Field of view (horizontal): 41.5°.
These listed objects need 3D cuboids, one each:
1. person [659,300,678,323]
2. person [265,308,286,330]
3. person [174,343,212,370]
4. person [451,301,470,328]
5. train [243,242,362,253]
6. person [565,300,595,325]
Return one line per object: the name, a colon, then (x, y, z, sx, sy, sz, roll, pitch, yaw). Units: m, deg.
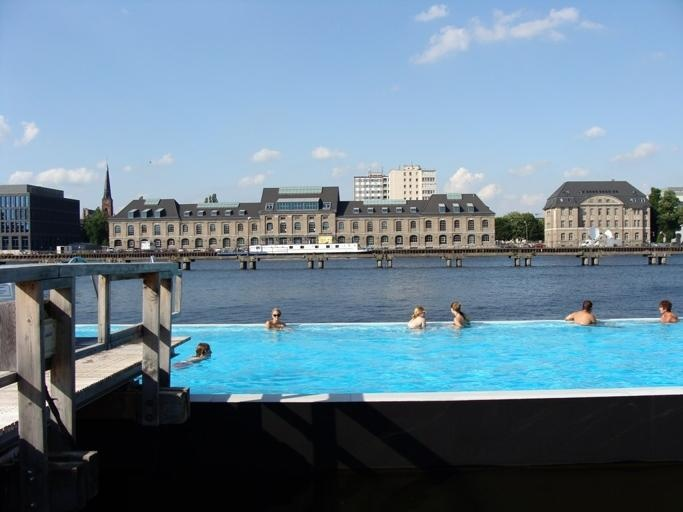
person: (7.639, 1.249, 20.953, 0.408, 0.531, 1.167, 3, 8, 20)
person: (-1.587, 1.471, 21.163, 0.465, 0.409, 0.994, 0, 7, -6)
person: (-2.954, 2.010, 17.911, 0.274, 0.300, 0.851, 4, 16, 26)
person: (2.792, 1.337, 21.102, 0.393, 0.608, 0.808, 1, 7, 8)
train: (-4.295, -0.923, 102.207, 13.388, 1.095, 1.733, 0, -1, 12)
person: (5.790, 1.306, 21.465, 0.637, 0.617, 0.889, -2, 8, -14)
